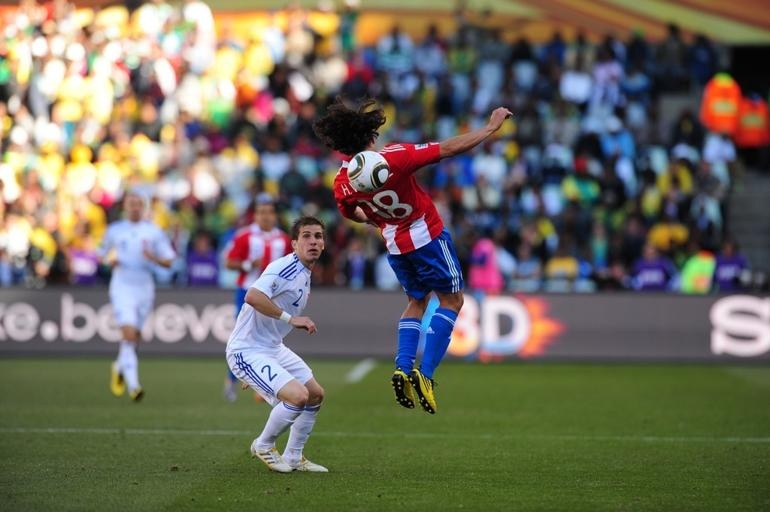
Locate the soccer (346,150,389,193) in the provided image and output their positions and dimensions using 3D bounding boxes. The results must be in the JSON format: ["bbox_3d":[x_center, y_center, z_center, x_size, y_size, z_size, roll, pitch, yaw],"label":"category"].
[{"bbox_3d":[-0.226,-1.092,16.969,0.507,0.541,0.511,-6,25,5],"label":"soccer"}]

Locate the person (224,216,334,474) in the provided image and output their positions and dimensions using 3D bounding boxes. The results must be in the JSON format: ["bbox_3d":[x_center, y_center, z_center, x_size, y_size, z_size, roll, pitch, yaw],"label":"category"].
[{"bbox_3d":[-1.412,1.164,17.023,1.209,3.278,0.777,-1,10,-3],"label":"person"}]

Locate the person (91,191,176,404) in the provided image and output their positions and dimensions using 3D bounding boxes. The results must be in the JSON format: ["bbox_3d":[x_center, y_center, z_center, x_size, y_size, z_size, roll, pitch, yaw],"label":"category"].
[{"bbox_3d":[-3.631,0.530,19.039,1.043,2.937,1.586,-2,10,-13],"label":"person"}]

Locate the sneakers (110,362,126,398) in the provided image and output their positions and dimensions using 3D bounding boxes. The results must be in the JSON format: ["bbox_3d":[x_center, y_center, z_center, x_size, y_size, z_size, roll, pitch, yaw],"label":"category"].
[{"bbox_3d":[-3.890,1.802,18.682,0.202,0.492,0.267,4,12,32],"label":"sneakers"}]

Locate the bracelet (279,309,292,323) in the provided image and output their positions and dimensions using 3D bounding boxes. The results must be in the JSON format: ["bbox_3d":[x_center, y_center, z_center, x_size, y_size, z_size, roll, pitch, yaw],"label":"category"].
[{"bbox_3d":[-1.310,0.805,16.854,0.108,0.143,0.141,10,-8,-16],"label":"bracelet"}]

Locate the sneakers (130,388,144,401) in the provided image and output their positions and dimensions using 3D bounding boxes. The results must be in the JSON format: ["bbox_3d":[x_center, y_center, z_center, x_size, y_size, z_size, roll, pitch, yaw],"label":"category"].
[{"bbox_3d":[-3.507,1.960,18.318,0.160,0.170,0.203,-32,18,2],"label":"sneakers"}]
